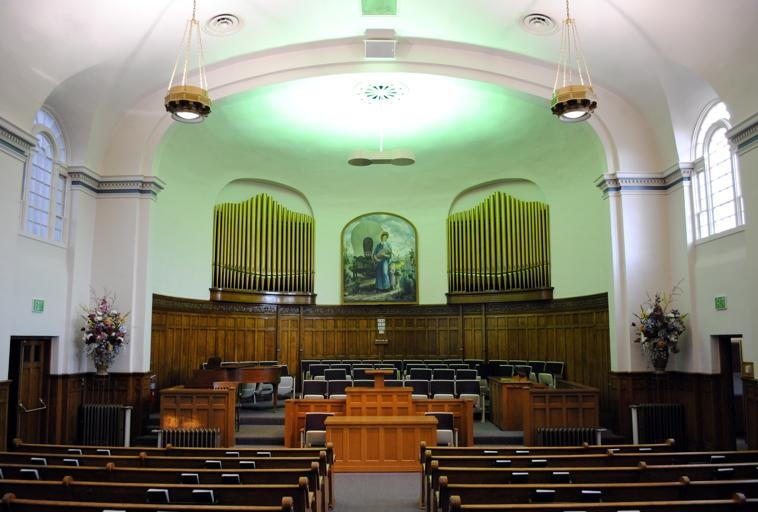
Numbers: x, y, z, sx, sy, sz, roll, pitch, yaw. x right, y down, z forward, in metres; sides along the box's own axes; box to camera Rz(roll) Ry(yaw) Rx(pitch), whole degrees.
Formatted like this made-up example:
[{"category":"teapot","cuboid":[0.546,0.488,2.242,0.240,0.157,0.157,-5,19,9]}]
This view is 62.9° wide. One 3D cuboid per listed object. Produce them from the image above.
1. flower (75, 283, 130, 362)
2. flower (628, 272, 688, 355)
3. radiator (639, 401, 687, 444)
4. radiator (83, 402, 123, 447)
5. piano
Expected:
[{"category":"flower","cuboid":[-7.301,1.939,16.413,0.894,2.178,0.751,2,-4,-11]},{"category":"flower","cuboid":[7.487,1.644,16.402,1.250,1.942,0.878,0,-12,-6]},{"category":"radiator","cuboid":[7.342,4.349,15.959,1.306,1.090,0.299,0,-12,-7]},{"category":"radiator","cuboid":[-7.114,4.361,15.888,0.910,1.089,0.425,0,-8,-4]},{"category":"piano","cuboid":[-3.965,3.417,17.368,1.796,1.024,1.770,2,-9,-6]}]
